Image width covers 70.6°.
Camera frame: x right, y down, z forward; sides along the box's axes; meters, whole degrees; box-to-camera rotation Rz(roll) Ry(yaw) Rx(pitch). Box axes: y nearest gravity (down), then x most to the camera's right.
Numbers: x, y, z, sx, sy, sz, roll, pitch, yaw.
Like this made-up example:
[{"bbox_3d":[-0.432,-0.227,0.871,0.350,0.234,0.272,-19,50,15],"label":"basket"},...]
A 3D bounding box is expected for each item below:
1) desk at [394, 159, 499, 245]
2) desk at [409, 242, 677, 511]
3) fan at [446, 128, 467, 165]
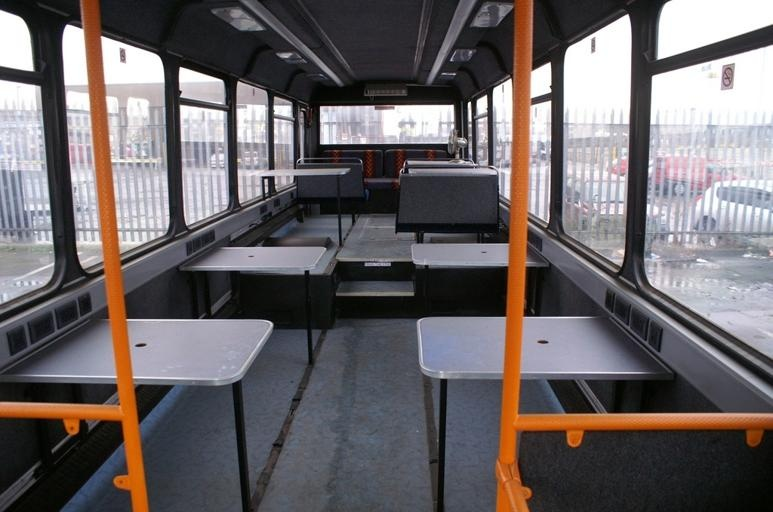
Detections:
[{"bbox_3d":[0.739,-0.632,6.151,0.920,0.651,0.873,0,11,3],"label":"desk"},{"bbox_3d":[0.887,0.566,3.401,1.397,0.807,1.351,0,13,-1],"label":"desk"},{"bbox_3d":[0.995,-1.631,8.034,0.345,0.465,0.371,-9,24,-38],"label":"fan"}]
